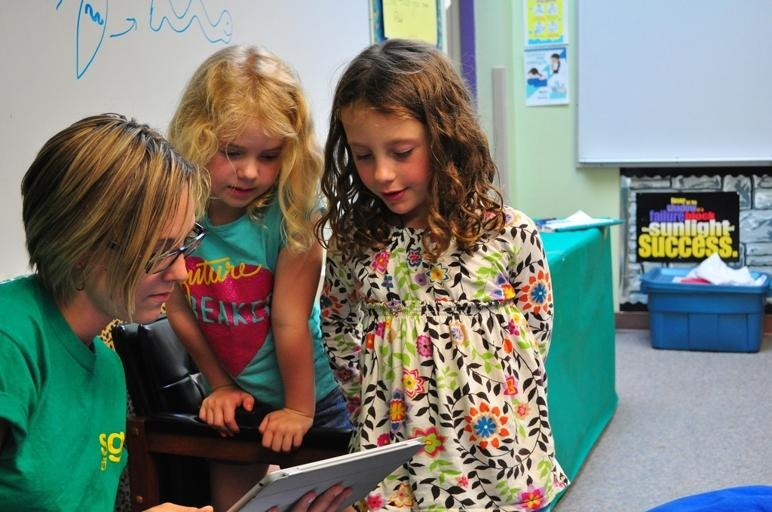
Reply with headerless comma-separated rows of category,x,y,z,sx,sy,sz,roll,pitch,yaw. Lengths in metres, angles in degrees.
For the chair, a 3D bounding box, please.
chair,-0.378,0.369,2.176,0.595,0.724,0.530,0,3,7
